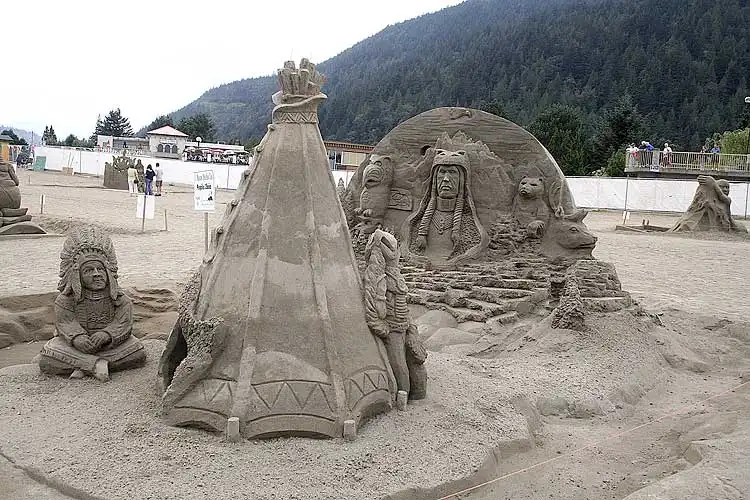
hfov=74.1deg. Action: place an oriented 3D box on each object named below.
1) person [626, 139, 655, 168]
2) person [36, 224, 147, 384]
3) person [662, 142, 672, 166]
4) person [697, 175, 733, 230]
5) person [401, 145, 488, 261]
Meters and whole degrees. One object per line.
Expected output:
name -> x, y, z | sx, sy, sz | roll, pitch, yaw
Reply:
person -> 16.312, -5.999, 30.508 | 1.270, 1.123, 2.147 | 3, 25, 23
person -> -2.925, 0.525, 5.156 | 1.000, 1.405, 1.121 | 0, 10, -43
person -> 17.398, -5.574, 29.437 | 0.539, 1.201, 0.833 | 5, 12, 14
person -> 11.992, -1.629, 17.394 | 1.227, 1.790, 0.624 | 11, 14, 34
person -> 1.110, -0.662, 7.750 | 1.343, 1.735, 0.646 | 3, 12, 4
